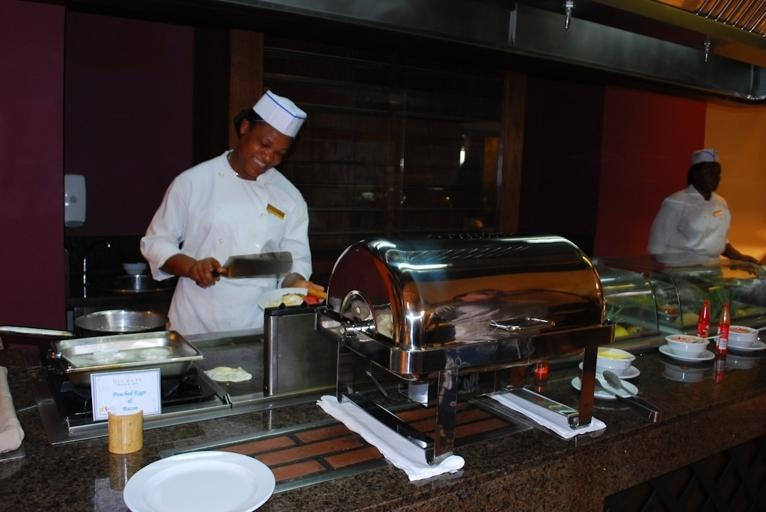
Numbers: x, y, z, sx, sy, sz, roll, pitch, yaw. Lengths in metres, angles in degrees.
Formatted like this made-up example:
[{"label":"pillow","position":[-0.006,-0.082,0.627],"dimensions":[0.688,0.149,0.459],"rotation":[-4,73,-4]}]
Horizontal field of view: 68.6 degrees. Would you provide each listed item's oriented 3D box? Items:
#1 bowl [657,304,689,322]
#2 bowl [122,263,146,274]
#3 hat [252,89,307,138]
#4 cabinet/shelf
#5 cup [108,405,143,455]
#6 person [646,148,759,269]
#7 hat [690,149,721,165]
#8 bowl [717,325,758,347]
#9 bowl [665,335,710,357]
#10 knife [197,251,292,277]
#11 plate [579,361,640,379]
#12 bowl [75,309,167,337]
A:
[{"label":"bowl","position":[1.516,0.296,2.959],"dimensions":[0.147,0.091,0.018],"rotation":[-5,9,-11]},{"label":"bowl","position":[-1.735,0.084,3.976],"dimensions":[0.104,0.055,0.105],"rotation":[0,5,0]},{"label":"hat","position":[-0.510,-0.732,2.941],"dimensions":[0.269,0.142,0.253],"rotation":[32,19,-3]},{"label":"cabinet/shelf","position":[0.172,-0.962,4.936],"dimensions":[2.156,1.742,0.692],"rotation":[14,38,15]},{"label":"cup","position":[-0.822,0.565,1.854],"dimensions":[0.141,0.137,0.128],"rotation":[2,-1,-25]},{"label":"person","position":[2.659,-0.416,4.744],"dimensions":[0.853,0.945,0.402],"rotation":[-7,9,-21]},{"label":"hat","position":[2.724,-0.830,4.737],"dimensions":[0.179,0.094,0.171],"rotation":[-1,4,0]},{"label":"bowl","position":[1.830,0.386,2.903],"dimensions":[0.150,0.075,0.153],"rotation":[1,4,0]},{"label":"bowl","position":[1.475,0.420,2.729],"dimensions":[0.168,0.069,0.243],"rotation":[2,9,30]},{"label":"knife","position":[-0.644,0.042,2.785],"dimensions":[0.419,0.128,0.070],"rotation":[0,-28,-45]},{"label":"plate","position":[1.058,0.505,2.470],"dimensions":[0.211,0.027,0.203],"rotation":[0,4,1]},{"label":"bowl","position":[-1.081,0.283,2.378],"dimensions":[0.348,0.082,0.188],"rotation":[-3,8,-2]}]
